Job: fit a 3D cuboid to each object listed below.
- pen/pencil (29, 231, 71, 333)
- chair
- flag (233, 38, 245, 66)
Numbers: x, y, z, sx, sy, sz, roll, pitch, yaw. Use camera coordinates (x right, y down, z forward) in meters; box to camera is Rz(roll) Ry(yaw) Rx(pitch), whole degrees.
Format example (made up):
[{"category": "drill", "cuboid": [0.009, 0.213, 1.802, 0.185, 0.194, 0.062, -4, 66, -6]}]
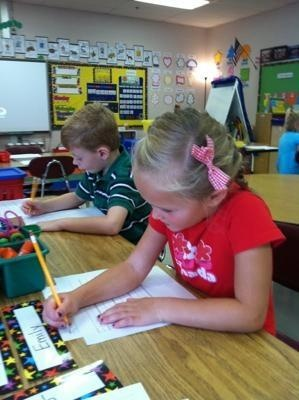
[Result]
[{"category": "pen/pencil", "cuboid": [-0.216, 0.181, 0.659, 0.012, 0.161, 0.013, -22, -6, 16]}, {"category": "chair", "cuboid": [-0.920, -0.228, 2.846, 0.296, 0.389, 0.299, -10, 36, -26]}, {"category": "flag", "cuboid": [1.642, -2.802, 5.705, 0.042, 0.478, 0.263, -3, 7, -18]}]
